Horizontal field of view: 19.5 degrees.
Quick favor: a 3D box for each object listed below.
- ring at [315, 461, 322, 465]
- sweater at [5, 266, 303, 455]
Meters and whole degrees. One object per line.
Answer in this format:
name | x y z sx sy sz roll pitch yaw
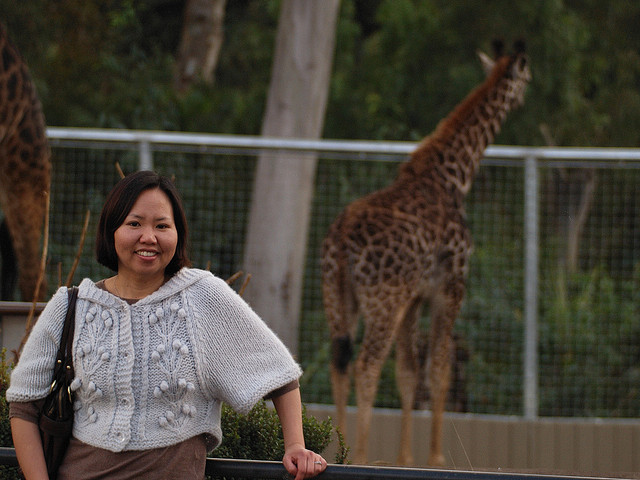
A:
ring | -0.015 1.847 15.383 0.057 0.023 0.015 6 -6 -20
sweater | -1.349 1.533 15.864 2.649 2.105 1.202 -1 -9 2
